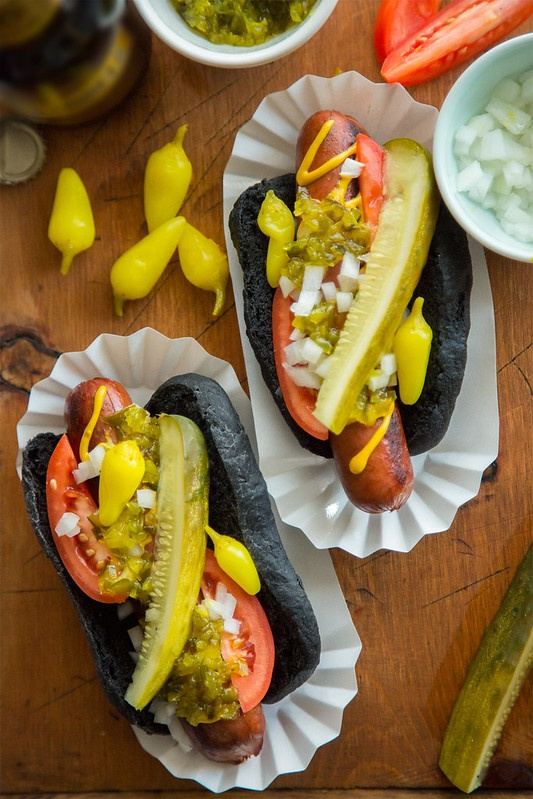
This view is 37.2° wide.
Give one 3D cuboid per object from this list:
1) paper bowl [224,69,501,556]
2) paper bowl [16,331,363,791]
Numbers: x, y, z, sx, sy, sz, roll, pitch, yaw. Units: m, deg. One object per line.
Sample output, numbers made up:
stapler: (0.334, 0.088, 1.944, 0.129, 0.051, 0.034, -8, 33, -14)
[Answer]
paper bowl: (0.164, -0.110, 1.470, 0.558, 0.230, 0.931, -11, 101, 0)
paper bowl: (-0.112, 0.236, 1.722, 0.603, 0.206, 0.981, -28, 95, -1)
